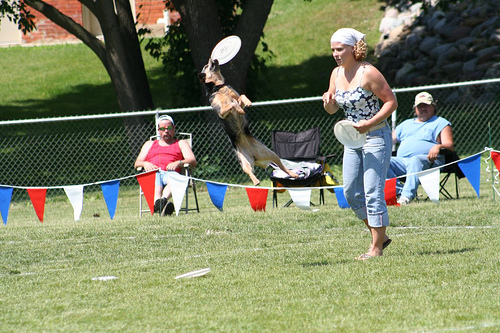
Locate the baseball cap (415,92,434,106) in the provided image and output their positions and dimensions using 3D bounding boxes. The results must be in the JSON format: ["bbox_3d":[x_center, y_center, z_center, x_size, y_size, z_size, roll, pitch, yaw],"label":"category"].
[{"bbox_3d":[3.722,-1.390,20.121,0.370,0.276,0.275,-2,0,7],"label":"baseball cap"}]

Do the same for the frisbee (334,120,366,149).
[{"bbox_3d":[1.823,-0.540,17.064,0.562,0.495,0.228,-2,0,7],"label":"frisbee"}]

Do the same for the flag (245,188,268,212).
[{"bbox_3d":[0.160,0.715,19.379,0.527,0.615,0.082,0,1,-5],"label":"flag"}]

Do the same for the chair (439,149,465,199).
[{"bbox_3d":[4.329,0.184,20.141,0.511,1.033,1.469,-2,0,11],"label":"chair"}]

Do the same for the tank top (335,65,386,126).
[{"bbox_3d":[1.952,-1.258,17.103,0.786,1.036,0.276,-2,0,5],"label":"tank top"}]

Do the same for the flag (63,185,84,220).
[{"bbox_3d":[-3.590,0.764,19.341,0.387,0.618,0.266,-2,0,0],"label":"flag"}]

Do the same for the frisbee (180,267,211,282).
[{"bbox_3d":[-0.973,1.955,16.941,0.634,0.201,0.089,-18,-7,-23],"label":"frisbee"}]

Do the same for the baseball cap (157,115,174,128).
[{"bbox_3d":[-1.850,-0.961,20.748,0.366,0.209,0.374,-2,0,-6],"label":"baseball cap"}]

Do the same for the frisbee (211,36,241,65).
[{"bbox_3d":[-0.432,-2.120,17.538,0.490,0.491,0.109,-39,13,5],"label":"frisbee"}]

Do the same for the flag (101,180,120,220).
[{"bbox_3d":[-2.872,0.721,19.449,0.359,0.721,0.337,-2,0,-10],"label":"flag"}]

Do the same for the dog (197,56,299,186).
[{"bbox_3d":[-0.343,-0.723,17.716,0.979,3.010,1.293,-30,6,-28],"label":"dog"}]

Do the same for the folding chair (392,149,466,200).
[{"bbox_3d":[3.983,0.210,19.953,1.048,1.104,0.989,-2,1,17],"label":"folding chair"}]

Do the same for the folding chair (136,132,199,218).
[{"bbox_3d":[-1.801,0.187,20.658,1.123,1.975,1.447,2,-2,-8],"label":"folding chair"}]

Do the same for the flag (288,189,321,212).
[{"bbox_3d":[1.150,0.666,18.964,0.400,0.483,0.578,-3,27,-34],"label":"flag"}]

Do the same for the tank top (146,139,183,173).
[{"bbox_3d":[-1.844,-0.209,20.701,0.682,0.829,0.516,-1,-2,36],"label":"tank top"}]

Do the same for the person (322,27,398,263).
[{"bbox_3d":[2.061,-0.361,17.125,1.169,4.104,0.434,-2,0,5],"label":"person"}]

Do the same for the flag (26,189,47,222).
[{"bbox_3d":[-4.416,0.830,19.572,0.364,0.589,0.462,-2,0,-13],"label":"flag"}]

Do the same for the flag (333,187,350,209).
[{"bbox_3d":[1.887,0.667,19.534,0.369,0.397,0.398,-3,6,8],"label":"flag"}]

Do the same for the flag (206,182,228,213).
[{"bbox_3d":[-0.691,0.691,19.885,0.658,0.740,0.060,2,13,14],"label":"flag"}]
